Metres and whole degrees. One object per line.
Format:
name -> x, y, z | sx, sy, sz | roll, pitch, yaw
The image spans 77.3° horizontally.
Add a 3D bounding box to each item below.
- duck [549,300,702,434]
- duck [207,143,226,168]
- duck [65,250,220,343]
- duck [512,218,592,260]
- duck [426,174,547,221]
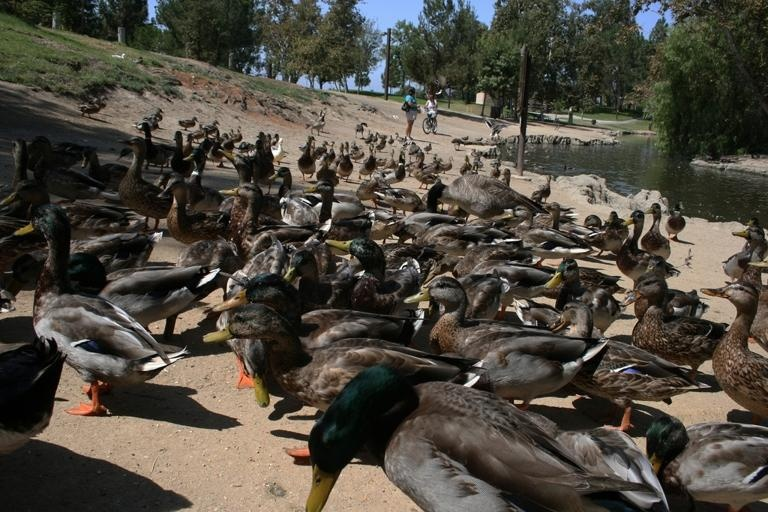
duck -> 2.392, 1.278, 5.984 | 2.514, 1.249, 0.904 | 2, -9, 8
duck -> -5.474, -3.334, 15.794 | 0.785, 0.634, 1.225 | -2, 1, -11
duck -> -2.434, 0.399, 5.863 | 2.124, 0.899, 0.710 | -8, -11, -12
duck -> 2.925, -0.252, 9.474 | 1.947, 0.769, 0.658 | 6, -18, 4
duck -> 2.249, -1.383, 11.380 | 3.059, 1.159, 1.033 | -9, -3, 14
